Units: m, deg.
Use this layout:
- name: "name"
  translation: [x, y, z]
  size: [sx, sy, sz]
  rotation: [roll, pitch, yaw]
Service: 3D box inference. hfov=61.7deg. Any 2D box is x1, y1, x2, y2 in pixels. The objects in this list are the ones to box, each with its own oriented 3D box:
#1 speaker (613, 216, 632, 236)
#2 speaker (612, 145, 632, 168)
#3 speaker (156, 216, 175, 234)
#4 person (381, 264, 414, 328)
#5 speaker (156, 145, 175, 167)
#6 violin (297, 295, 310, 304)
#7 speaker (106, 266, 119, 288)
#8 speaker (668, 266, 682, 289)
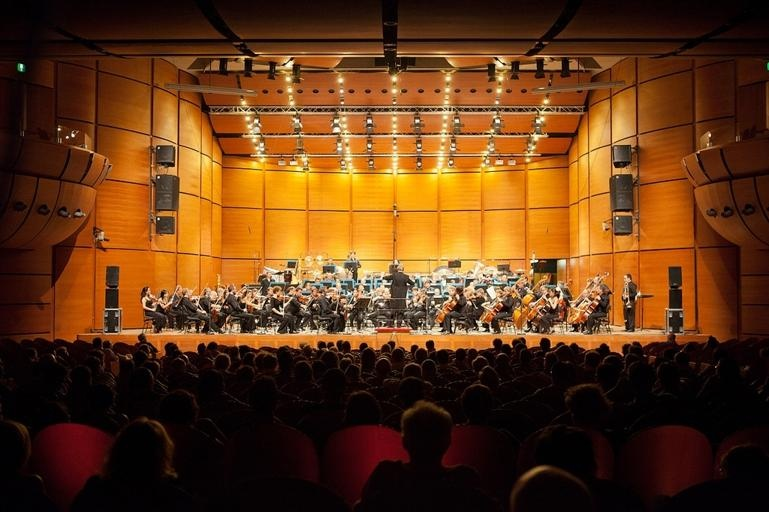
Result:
- name: "speaker"
  translation: [7.573, -1.021, 20.447]
  size: [0.559, 0.649, 0.497]
  rotation: [1, -12, 17]
- name: "speaker"
  translation: [7.506, -3.208, 20.568]
  size: [0.708, 0.664, 0.667]
  rotation: [1, -29, 6]
- name: "speaker"
  translation: [-7.076, -0.992, 20.628]
  size: [0.607, 0.536, 0.322]
  rotation: [0, -1, -6]
- name: "person"
  translation: [0.369, 1.161, 18.700]
  size: [0.881, 1.638, 0.689]
  rotation: [1, 0, 19]
- name: "speaker"
  translation: [-7.013, -3.231, 20.847]
  size: [0.720, 0.662, 0.681]
  rotation: [0, -1, -12]
- name: "violin"
  translation: [-2.453, 1.295, 19.246]
  size: [0.309, 0.103, 0.295]
  rotation: [0, 9, -12]
- name: "speaker"
  translation: [-7.778, 0.571, 18.286]
  size: [0.341, 0.669, 0.350]
  rotation: [10, -13, -25]
- name: "speaker"
  translation: [8.222, 0.606, 18.176]
  size: [0.345, 0.638, 0.235]
  rotation: [3, -12, 5]
